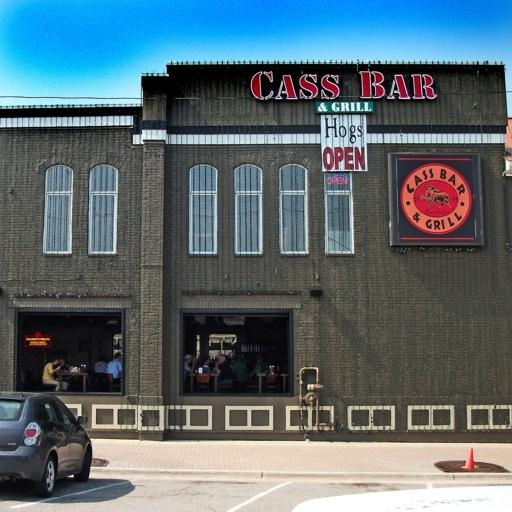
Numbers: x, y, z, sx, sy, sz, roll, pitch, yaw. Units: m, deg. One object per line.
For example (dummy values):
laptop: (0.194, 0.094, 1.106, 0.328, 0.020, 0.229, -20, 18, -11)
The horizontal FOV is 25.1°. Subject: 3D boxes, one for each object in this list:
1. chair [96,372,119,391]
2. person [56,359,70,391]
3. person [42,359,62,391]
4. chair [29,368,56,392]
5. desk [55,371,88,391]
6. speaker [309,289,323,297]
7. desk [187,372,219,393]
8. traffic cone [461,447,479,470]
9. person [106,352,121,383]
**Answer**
chair: (-3.896, 3.283, 29.726, 0.485, 0.906, 0.494, -1, -4, 14)
person: (-5.149, 3.128, 29.972, 0.501, 0.715, 1.045, 1, -6, -9)
person: (-5.340, 3.108, 29.688, 0.579, 1.049, 0.636, 0, -3, -13)
chair: (-5.519, 3.151, 29.711, 0.624, 0.717, 0.439, 0, -16, 0)
desk: (-4.784, 3.281, 29.648, 0.536, 0.460, 0.544, 0, -3, 2)
speaker: (1.520, 0.944, 29.306, 0.350, 0.248, 0.134, 1, 2, -1)
desk: (-1.378, 3.227, 29.386, 0.786, 0.463, 0.264, 1, 2, -3)
traffic cone: (4.688, 4.512, 25.574, 0.373, 0.579, 0.408, 2, 0, 25)
person: (-3.631, 2.870, 29.425, 0.291, 0.762, 0.700, 0, 3, -42)
